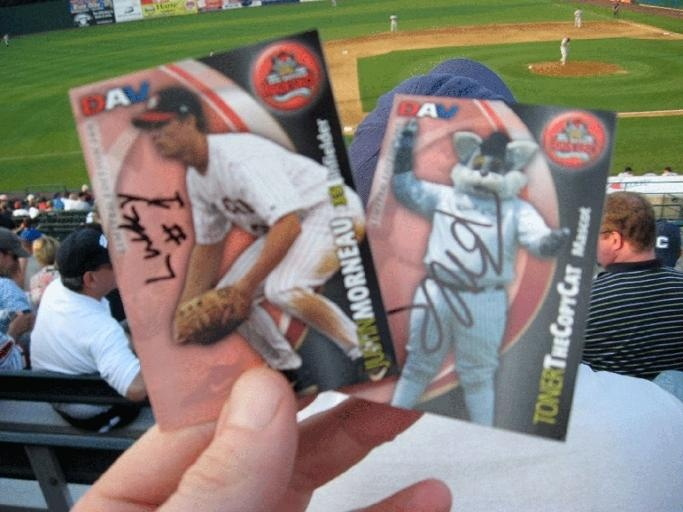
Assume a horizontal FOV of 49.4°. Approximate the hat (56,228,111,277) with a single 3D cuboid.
[{"bbox_3d":[-0.903,-0.004,2.618,0.119,0.109,0.176,17,50,31],"label":"hat"}]
